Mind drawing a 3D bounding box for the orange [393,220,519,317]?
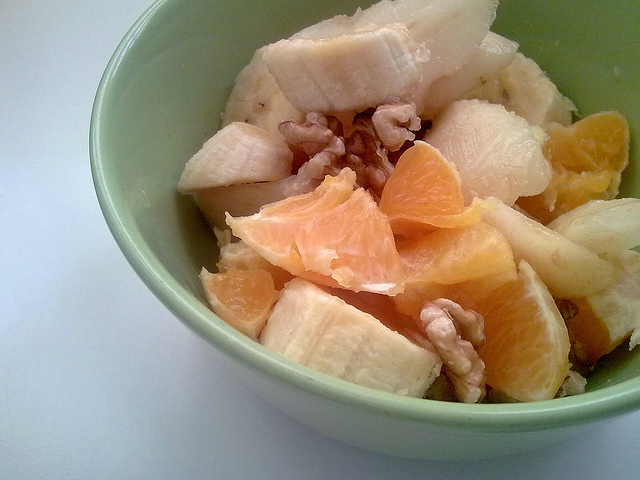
[{"bbox_3d":[0.182,0.032,0.974,0.195,0.064,0.151,-6,25,-33],"label":"orange"}]

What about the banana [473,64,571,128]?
[{"bbox_3d":[0.402,-0.265,1.209,0.147,0.036,0.147,27,65,1],"label":"banana"}]

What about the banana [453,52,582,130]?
[{"bbox_3d":[0.392,-0.282,1.213,0.175,0.054,0.188,10,69,-11],"label":"banana"}]

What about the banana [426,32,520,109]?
[{"bbox_3d":[0.280,-0.302,1.162,0.143,0.150,0.054,-20,43,-27],"label":"banana"}]

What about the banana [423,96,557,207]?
[{"bbox_3d":[0.284,-0.157,1.079,0.168,0.078,0.221,-37,58,9],"label":"banana"}]

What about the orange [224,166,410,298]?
[{"bbox_3d":[0.021,0.001,0.948,0.243,0.085,0.182,20,63,15],"label":"orange"}]

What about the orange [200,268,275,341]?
[{"bbox_3d":[-0.128,0.107,0.986,0.100,0.038,0.100,23,43,-16],"label":"orange"}]
